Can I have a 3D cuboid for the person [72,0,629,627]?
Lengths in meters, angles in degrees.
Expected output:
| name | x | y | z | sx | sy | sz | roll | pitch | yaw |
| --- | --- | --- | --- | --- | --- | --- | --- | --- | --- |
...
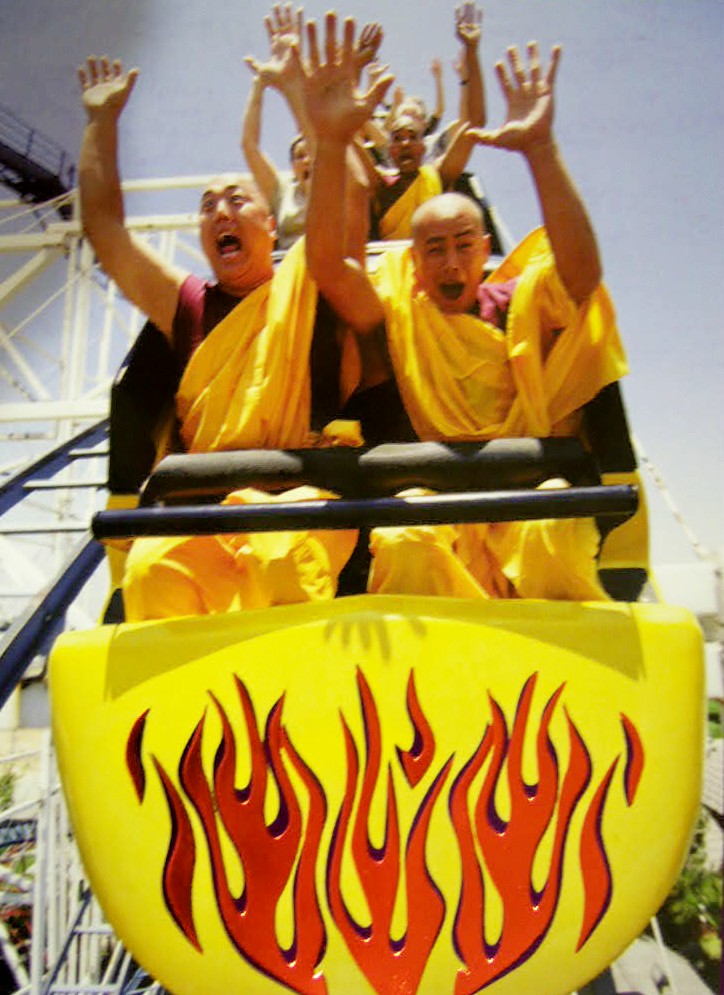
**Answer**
| name | x | y | z | sx | sy | sz | roll | pitch | yaw |
| --- | --- | --- | --- | --- | --- | --- | --- | --- | --- |
| person | -0.002 | -0.379 | 1.955 | 1.090 | 1.209 | 1.124 | -5 | 15 | -16 |
